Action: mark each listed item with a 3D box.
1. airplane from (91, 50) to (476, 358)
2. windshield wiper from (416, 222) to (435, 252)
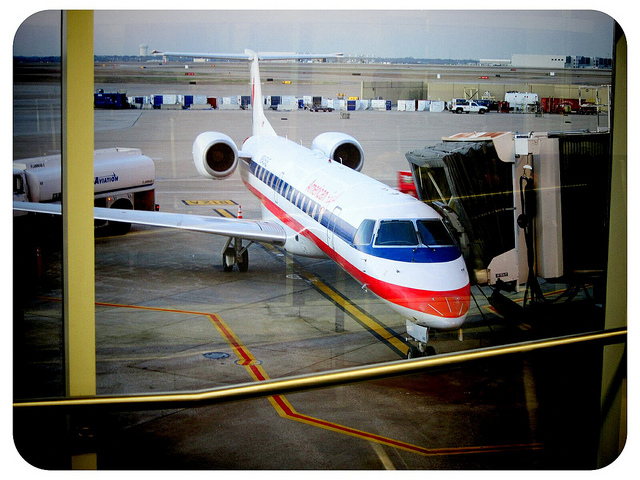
[{"bbox_3d":[-0.680,-0.277,12.048,4.199,3.804,7.781,-6,9,-14],"label":"airplane"},{"bbox_3d":[1.644,-0.027,9.256,0.088,0.514,0.039,-30,-27,17],"label":"windshield wiper"}]
